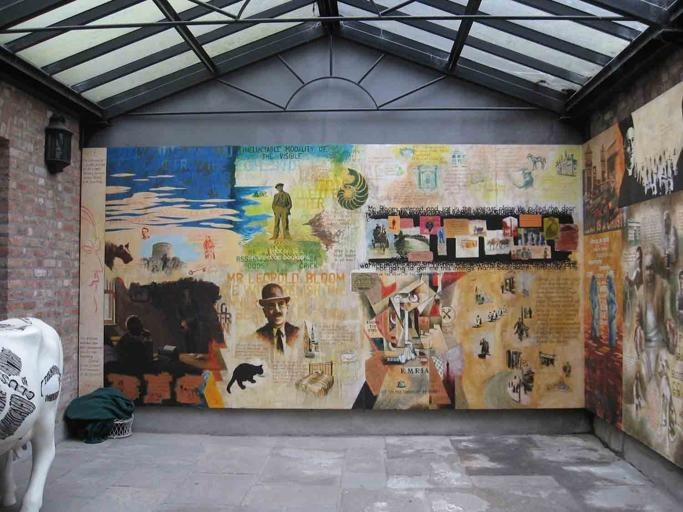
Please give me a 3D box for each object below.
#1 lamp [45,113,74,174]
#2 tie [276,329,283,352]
[{"bbox_3d":[-3.435,-1.357,7.464,0.326,0.712,0.248,-5,9,-30],"label":"lamp"},{"bbox_3d":[-0.776,1.053,7.794,0.093,0.269,0.057,0,8,-4],"label":"tie"}]
